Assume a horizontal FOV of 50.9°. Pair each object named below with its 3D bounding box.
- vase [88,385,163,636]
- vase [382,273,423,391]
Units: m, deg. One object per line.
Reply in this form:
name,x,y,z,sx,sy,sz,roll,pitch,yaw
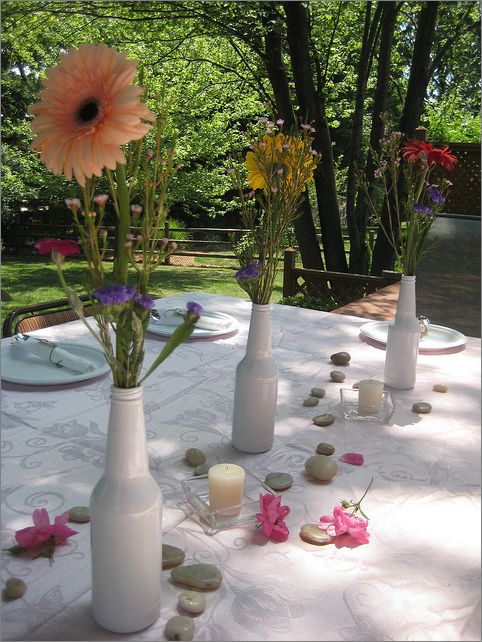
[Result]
vase,-0.118,0.200,0.524,0.069,0.272,0.046,0,14,-15
vase,0.446,0.031,1.406,0.104,0.307,0.103,10,11,35
